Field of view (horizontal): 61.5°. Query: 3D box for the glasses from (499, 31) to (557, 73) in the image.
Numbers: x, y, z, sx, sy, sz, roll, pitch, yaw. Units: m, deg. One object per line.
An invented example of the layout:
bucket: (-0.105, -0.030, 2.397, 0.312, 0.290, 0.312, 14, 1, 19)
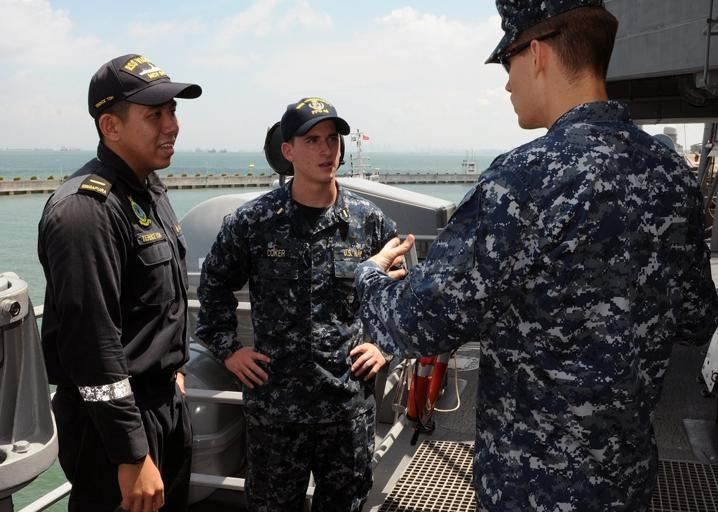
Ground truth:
glasses: (0.574, -0.739, 2.165, 0.210, 0.068, 0.216, -20, 12, 26)
